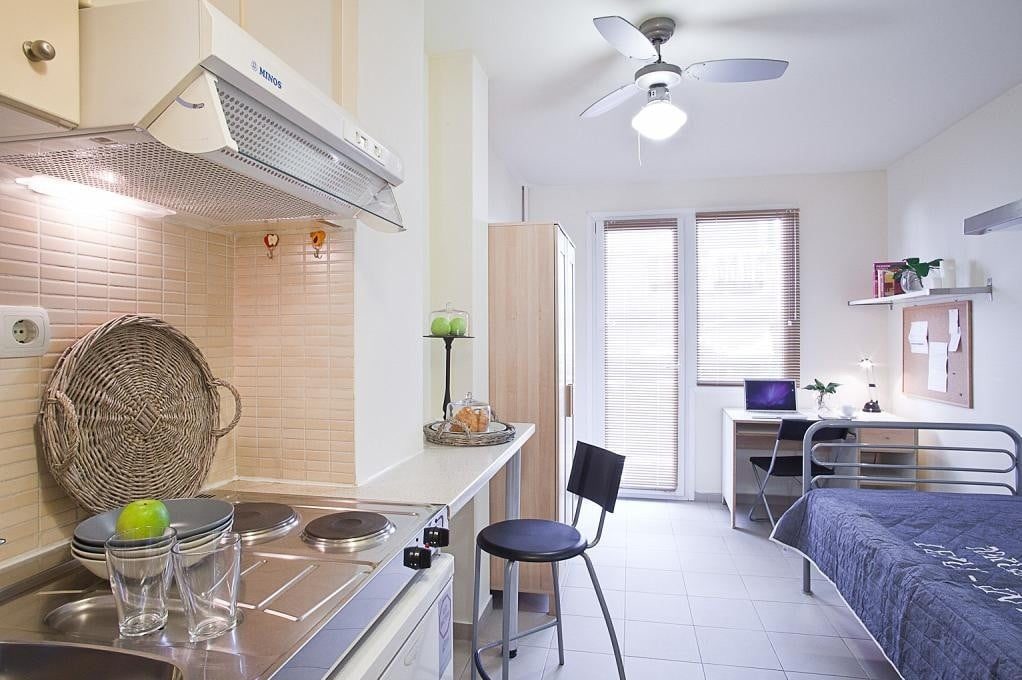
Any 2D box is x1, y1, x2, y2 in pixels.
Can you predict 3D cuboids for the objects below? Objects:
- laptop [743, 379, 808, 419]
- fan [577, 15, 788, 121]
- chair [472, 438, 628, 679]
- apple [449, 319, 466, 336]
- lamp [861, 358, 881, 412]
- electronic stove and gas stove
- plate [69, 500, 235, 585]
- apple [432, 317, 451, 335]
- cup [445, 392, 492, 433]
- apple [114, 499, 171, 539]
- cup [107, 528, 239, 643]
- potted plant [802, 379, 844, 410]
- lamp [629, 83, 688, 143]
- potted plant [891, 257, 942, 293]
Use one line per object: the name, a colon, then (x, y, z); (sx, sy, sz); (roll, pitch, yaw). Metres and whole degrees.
laptop: (1.966, 0.429, 5.120); (0.402, 0.261, 0.242); (-1, -3, 10)
fan: (0.792, -1.326, 3.244); (0.882, 0.385, 0.770); (0, 6, 0)
chair: (0.183, 0.994, 3.129); (0.695, 1.020, 0.944); (1, 6, 4)
apple: (-0.261, -0.061, 3.269); (0.074, 0.078, 0.119); (0, 6, -1)
lamp: (2.721, 0.343, 5.114); (0.150, 0.384, 0.276); (3, 7, 24)
electronic stove and gas stove: (-0.563, 0.566, 2.090); (0.587, 0.074, 0.318); (1, 0, 11)
plate: (-1.013, 0.523, 1.900); (0.261, 0.076, 0.258); (0, -2, 2)
apple: (-0.340, -0.061, 3.257); (0.086, 0.085, 0.104); (0, 6, -2)
cup: (-0.194, 0.348, 3.108); (0.159, 0.136, 0.157); (1, -5, 0)
apple: (-0.950, 0.450, 1.742); (0.100, 0.096, 0.100); (-2, -5, 40)
cup: (-0.820, 0.612, 1.721); (0.215, 0.228, 0.317); (-1, -9, -5)
potted plant: (2.392, 0.389, 5.202); (0.213, 0.200, 0.297); (1, -1, 29)
lamp: (0.788, -1.227, 3.625); (0.298, 0.310, 0.303); (4, -17, -6)
potted plant: (2.680, -0.403, 4.484); (0.238, 0.106, 0.235); (7, -3, -30)
